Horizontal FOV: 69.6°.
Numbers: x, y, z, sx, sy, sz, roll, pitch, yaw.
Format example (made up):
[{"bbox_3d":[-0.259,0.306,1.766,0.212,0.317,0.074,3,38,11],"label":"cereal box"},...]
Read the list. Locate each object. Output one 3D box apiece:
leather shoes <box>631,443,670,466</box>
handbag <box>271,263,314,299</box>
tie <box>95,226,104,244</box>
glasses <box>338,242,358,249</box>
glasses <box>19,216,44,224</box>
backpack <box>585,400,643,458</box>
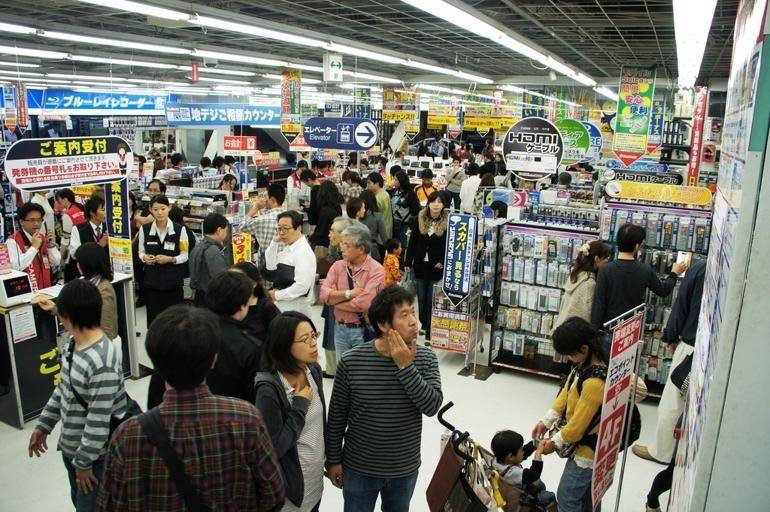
[{"bbox_3d":[2.551,1.899,5.352,0.108,0.194,0.309,-32,43,-29],"label":"leather shoes"},{"bbox_3d":[-0.904,0.241,5.465,0.268,0.255,0.150,24,4,16],"label":"handbag"},{"bbox_3d":[-3.583,-0.274,6.985,0.055,0.177,0.127,0,-9,-17],"label":"tie"},{"bbox_3d":[-0.352,-0.103,5.202,0.193,0.069,0.089,7,11,29],"label":"glasses"},{"bbox_3d":[-4.017,-0.418,6.316,0.169,0.130,0.138,-4,4,40],"label":"glasses"},{"bbox_3d":[1.596,1.153,3.899,0.407,0.399,0.288,8,-24,29],"label":"backpack"}]
